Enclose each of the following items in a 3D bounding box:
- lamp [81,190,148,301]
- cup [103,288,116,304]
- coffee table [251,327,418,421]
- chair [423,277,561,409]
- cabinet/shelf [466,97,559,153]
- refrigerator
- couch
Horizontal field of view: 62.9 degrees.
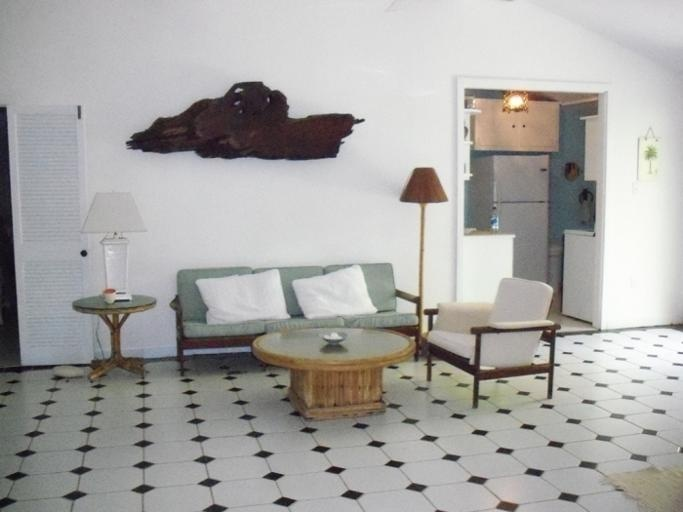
[{"bbox_3d":[-2.307,-0.102,5.745,0.566,1.104,0.674,-5,13,-20],"label":"lamp"},{"bbox_3d":[-2.285,0.398,5.577,0.145,0.120,0.141,1,7,0],"label":"cup"},{"bbox_3d":[-0.053,0.972,4.864,0.972,0.357,0.904,-1,6,-10],"label":"coffee table"},{"bbox_3d":[1.397,0.735,5.321,0.916,0.918,1.079,-4,5,-16],"label":"chair"},{"bbox_3d":[2.503,-1.867,8.243,1.326,0.673,0.395,-1,3,-13],"label":"cabinet/shelf"},{"bbox_3d":[2.473,-0.581,8.303,1.208,1.854,0.694,2,13,12],"label":"refrigerator"},{"bbox_3d":[-0.480,0.603,6.042,2.624,0.787,0.813,-1,7,-17],"label":"couch"}]
